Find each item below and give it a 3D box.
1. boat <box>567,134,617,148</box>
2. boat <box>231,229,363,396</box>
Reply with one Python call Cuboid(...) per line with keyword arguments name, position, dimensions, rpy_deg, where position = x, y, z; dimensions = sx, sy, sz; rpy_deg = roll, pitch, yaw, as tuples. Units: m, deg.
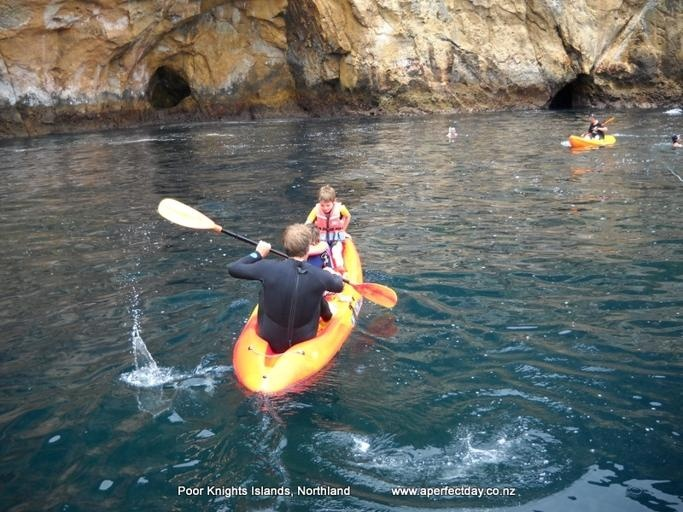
Cuboid(name="boat", position=(8.125, -3.600, 17.805), dimensions=(1.546, 0.263, 0.663), rpy_deg=(-7, 13, -20))
Cuboid(name="boat", position=(-0.489, 0.660, 7.163), dimensions=(1.294, 0.502, 2.946), rpy_deg=(4, 31, 11))
